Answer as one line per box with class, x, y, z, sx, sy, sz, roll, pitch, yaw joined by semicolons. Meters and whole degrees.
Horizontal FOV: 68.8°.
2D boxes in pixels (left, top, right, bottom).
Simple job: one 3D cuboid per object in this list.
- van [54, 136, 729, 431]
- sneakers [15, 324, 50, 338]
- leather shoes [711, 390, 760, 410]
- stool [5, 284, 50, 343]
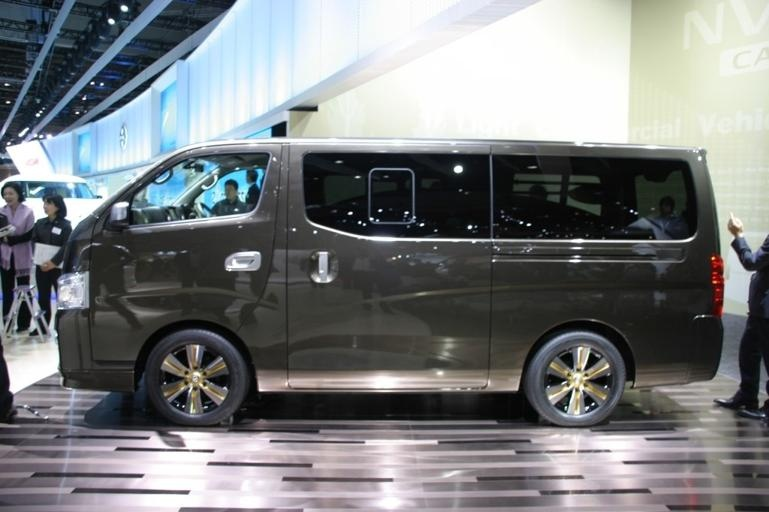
van;0.161;0.191;6.237;6.584;2.524;2.265;1;4;-8
sneakers;-5.103;1.066;8.138;0.393;0.256;0.139;9;5;-3
leather shoes;3.696;1.500;5.935;0.469;0.196;0.161;2;-1;31
stool;-5.176;0.774;8.064;0.560;0.778;1.085;-8;15;-35
